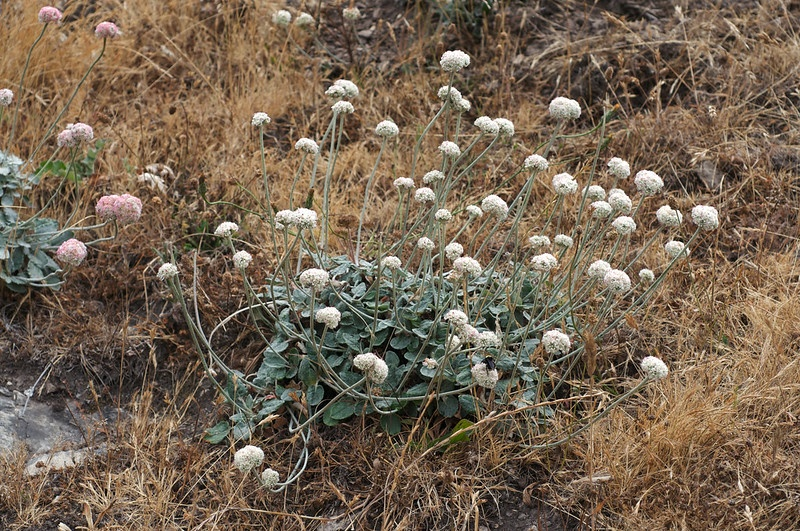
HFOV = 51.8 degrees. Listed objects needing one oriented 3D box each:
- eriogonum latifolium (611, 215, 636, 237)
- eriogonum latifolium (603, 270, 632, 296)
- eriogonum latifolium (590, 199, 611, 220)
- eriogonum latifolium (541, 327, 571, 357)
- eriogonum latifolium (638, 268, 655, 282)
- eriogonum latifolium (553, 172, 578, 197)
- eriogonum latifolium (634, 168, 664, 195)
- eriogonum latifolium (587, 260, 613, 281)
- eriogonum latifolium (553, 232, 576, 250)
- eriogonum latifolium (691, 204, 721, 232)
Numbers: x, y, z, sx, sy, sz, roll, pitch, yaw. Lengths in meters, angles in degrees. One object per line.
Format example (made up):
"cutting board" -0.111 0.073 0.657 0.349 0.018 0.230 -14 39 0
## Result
"eriogonum latifolium" 1.729 -0.309 6.419 0.147 0.171 0.145 0 91 5
"eriogonum latifolium" 1.586 0.115 6.039 0.155 0.182 0.159 2 100 1
"eriogonum latifolium" 1.568 -0.434 6.426 0.119 0.144 0.102 0 92 8
"eriogonum latifolium" 1.129 0.559 5.969 0.181 0.232 0.210 -3 96 0
"eriogonum latifolium" 1.976 0.047 6.601 0.122 0.131 0.137 -2 64 16
"eriogonum latifolium" 1.290 -0.637 6.471 0.174 0.231 0.130 1 103 8
"eriogonum latifolium" 1.960 -0.679 6.491 0.195 0.229 0.197 8 80 26
"eriogonum latifolium" 1.481 0.029 6.134 0.133 0.149 0.160 -4 97 -27
"eriogonum latifolium" 1.302 -0.193 6.566 0.143 0.142 0.133 19 92 58
"eriogonum latifolium" 2.447 -0.376 6.587 0.159 0.184 0.186 20 57 35
